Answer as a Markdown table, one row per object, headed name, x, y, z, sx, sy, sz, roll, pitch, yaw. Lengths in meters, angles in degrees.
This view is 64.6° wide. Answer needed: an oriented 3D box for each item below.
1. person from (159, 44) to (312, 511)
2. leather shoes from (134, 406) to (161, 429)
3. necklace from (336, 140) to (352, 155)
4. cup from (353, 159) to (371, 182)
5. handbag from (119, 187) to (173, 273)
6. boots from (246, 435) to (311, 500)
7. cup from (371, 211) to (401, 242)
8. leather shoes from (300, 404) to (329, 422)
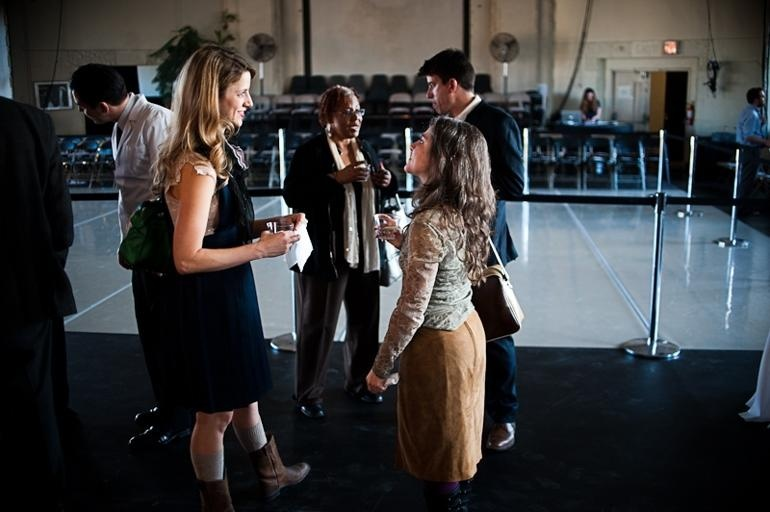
| name | x | y | z | sx | sy | sz | roll | pitch | yaw |
| --- | --- | --- | --- | --- | --- | --- | --- | --- | --- |
| person | -0.682 | 0.181 | 2.757 | 0.569 | 2.188 | 0.430 | -9 | 15 | -38 |
| leather shoes | -1.409 | 0.963 | 3.662 | 0.202 | 0.068 | 0.128 | -1 | 24 | 13 |
| necklace | -0.242 | -0.650 | 3.716 | 0.079 | 0.089 | 0.099 | -2 | -6 | 20 |
| cup | -0.124 | -0.508 | 3.603 | 0.113 | 0.115 | 0.111 | -1 | 15 | 0 |
| handbag | -1.011 | -0.100 | 2.615 | 0.370 | 0.339 | 0.161 | 7 | 14 | 28 |
| boots | -0.536 | 1.049 | 3.124 | 0.315 | 0.307 | 0.117 | -14 | 8 | -41 |
| cup | 0.010 | -0.137 | 2.897 | 0.116 | 0.100 | 0.128 | -3 | 4 | -10 |
| leather shoes | -0.429 | 0.948 | 3.717 | 0.080 | 0.061 | 0.150 | -3 | 2 | -45 |
